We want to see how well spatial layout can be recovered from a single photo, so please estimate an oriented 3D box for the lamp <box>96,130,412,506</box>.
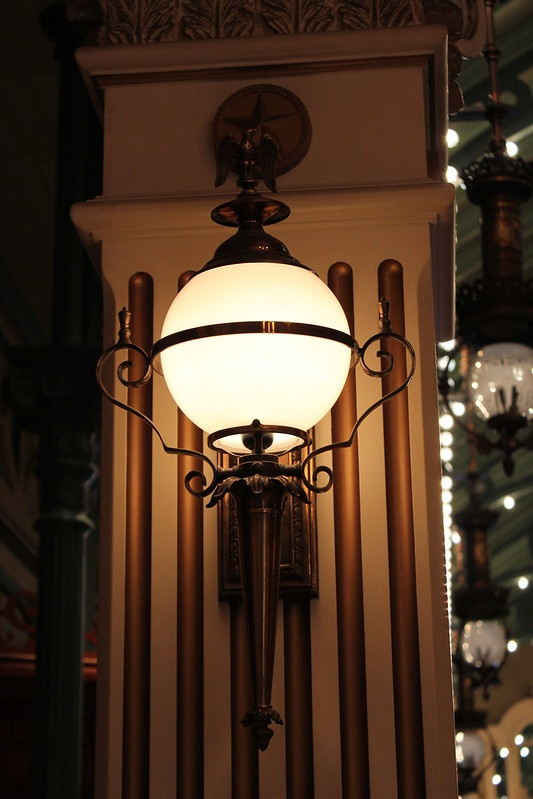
[{"bbox_3d":[-0.025,-0.131,2.679,0.426,0.641,0.288,0,-18,-5],"label":"lamp"}]
